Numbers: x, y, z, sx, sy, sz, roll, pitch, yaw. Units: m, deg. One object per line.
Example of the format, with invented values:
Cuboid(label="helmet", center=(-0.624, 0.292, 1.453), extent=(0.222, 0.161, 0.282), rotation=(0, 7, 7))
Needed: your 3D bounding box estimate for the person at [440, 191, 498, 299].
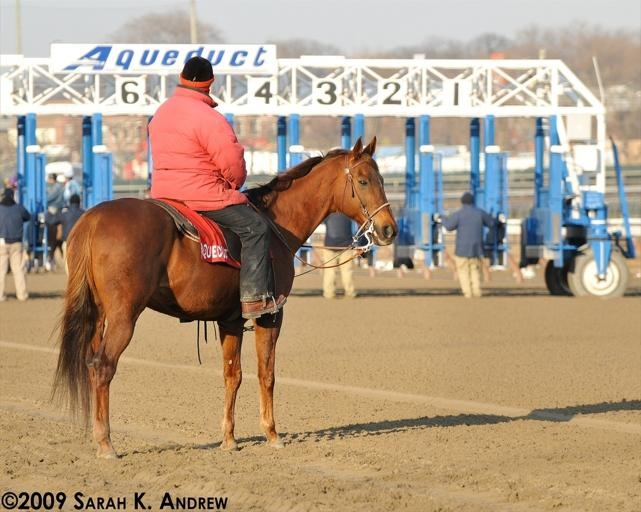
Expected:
Cuboid(label="person", center=(2.545, -0.155, 25.197), extent=(0.855, 1.866, 1.052), rotation=(1, 9, 7))

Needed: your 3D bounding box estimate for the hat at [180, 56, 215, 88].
Cuboid(label="hat", center=(-1.329, -2.024, 15.763), extent=(0.253, 0.336, 0.366), rotation=(4, 17, -3))
